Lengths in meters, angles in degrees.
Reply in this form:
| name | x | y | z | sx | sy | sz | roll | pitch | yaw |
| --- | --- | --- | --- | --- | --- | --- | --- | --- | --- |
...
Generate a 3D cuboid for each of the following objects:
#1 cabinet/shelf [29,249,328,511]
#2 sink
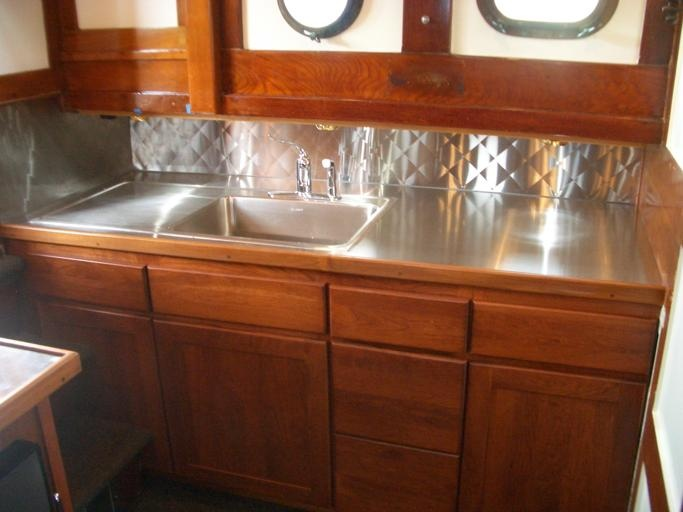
| name | x | y | z | sx | sy | sz | roll | pitch | yaw |
| --- | --- | --- | --- | --- | --- | --- | --- | --- | --- |
| cabinet/shelf | -0.556 | 0.402 | 1.951 | 0.888 | 0.729 | 0.310 | 5 | 22 | 16 |
| sink | -0.234 | -0.159 | 2.247 | 0.770 | 0.210 | 0.255 | 4 | 9 | -8 |
